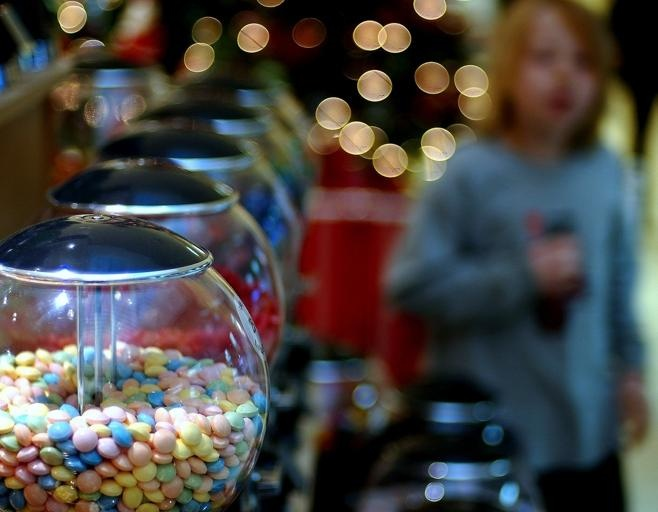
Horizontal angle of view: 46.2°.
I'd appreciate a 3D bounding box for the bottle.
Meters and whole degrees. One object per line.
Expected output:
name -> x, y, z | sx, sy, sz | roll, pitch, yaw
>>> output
bottle -> -0.254, 0.035, 0.925 | 0.357, 0.430, 0.357 | 4, 1, 25
